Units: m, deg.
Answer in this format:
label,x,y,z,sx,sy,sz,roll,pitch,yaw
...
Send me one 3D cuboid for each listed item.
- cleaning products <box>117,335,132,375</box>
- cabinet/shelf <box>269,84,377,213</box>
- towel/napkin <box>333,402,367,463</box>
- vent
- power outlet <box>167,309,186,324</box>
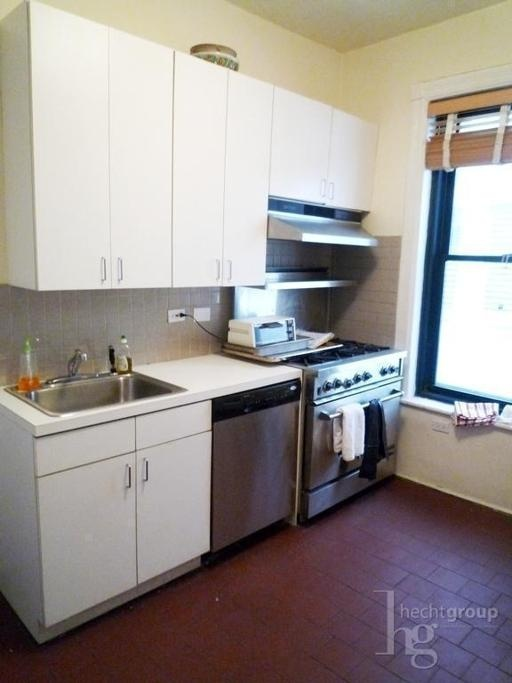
label,x,y,z,sx,sy,sz,roll,pitch,yaw
cleaning products,-0.617,0.057,2.361,0.107,0.172,0.071,8,10,35
cabinet/shelf,0.368,-1.065,2.900,0.813,0.518,0.282,-14,22,-42
towel/napkin,0.473,0.468,2.662,0.126,0.284,0.171,7,10,32
vent,0.419,-0.676,2.981,0.190,0.234,0.955,7,11,37
power outlet,-0.411,-0.130,2.667,0.008,0.072,0.126,8,11,37
